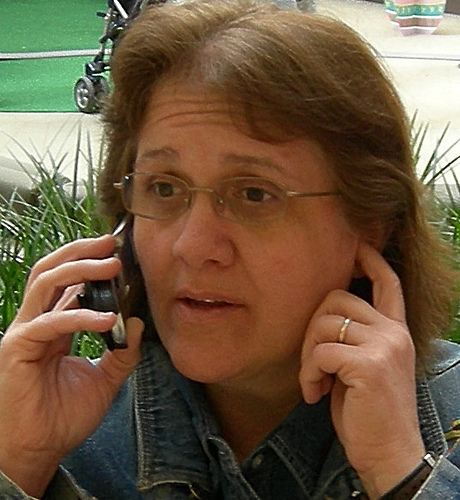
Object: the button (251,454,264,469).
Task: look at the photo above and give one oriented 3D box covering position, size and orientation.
[{"bbox_3d":[0.077,0.601,1.600,0.011,0.035,0.041,32,0,-9],"label":"button"}]
